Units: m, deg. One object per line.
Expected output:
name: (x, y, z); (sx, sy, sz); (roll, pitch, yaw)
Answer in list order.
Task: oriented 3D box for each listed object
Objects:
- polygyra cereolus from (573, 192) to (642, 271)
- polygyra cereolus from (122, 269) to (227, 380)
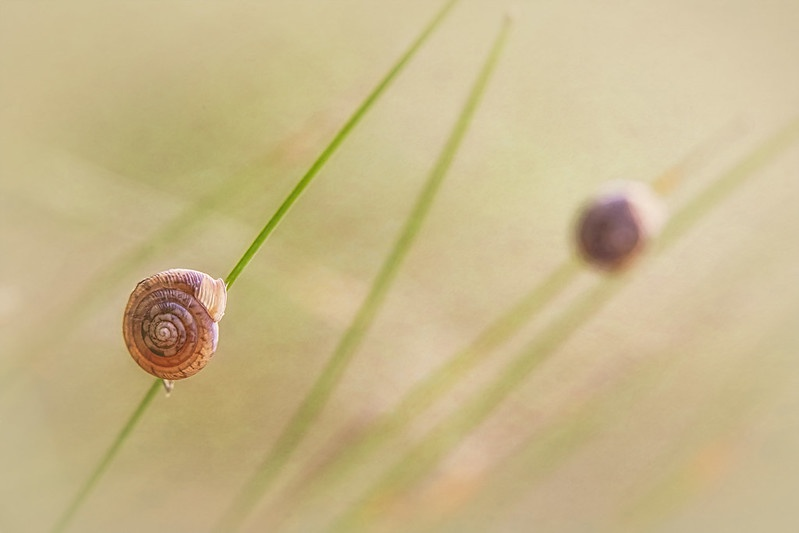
polygyra cereolus: (0.192, -0.028, 0.797); (0.064, 0.020, 0.081); (6, -54, 7)
polygyra cereolus: (-0.198, 0.047, 0.771); (0.081, 0.045, 0.093); (19, -80, -11)
